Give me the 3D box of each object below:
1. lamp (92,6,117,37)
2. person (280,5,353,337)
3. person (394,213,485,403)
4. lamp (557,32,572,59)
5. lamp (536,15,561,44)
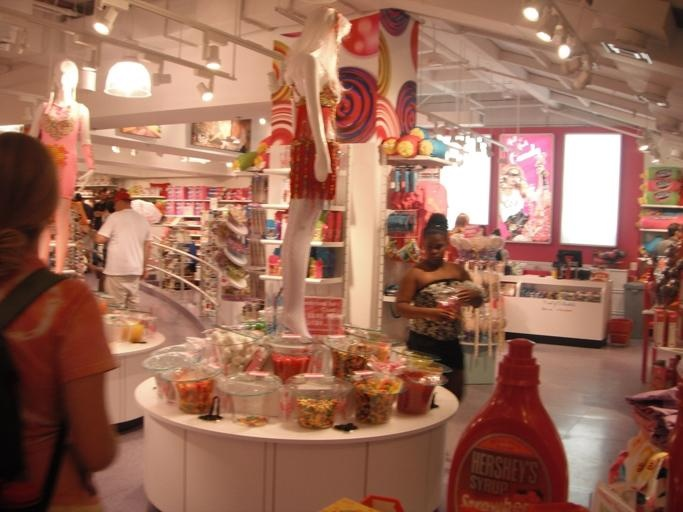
[{"bbox_3d":[-2.189,-2.188,4.812,0.187,0.251,0.337,2,3,-24],"label":"lamp"},{"bbox_3d":[-0.218,-0.530,3.339,0.386,2.075,0.357,4,3,0],"label":"person"},{"bbox_3d":[0.642,0.345,3.414,0.514,1.262,0.574,6,4,33],"label":"person"},{"bbox_3d":[1.635,-1.570,3.898,0.142,0.147,0.042,-11,17,-36],"label":"lamp"},{"bbox_3d":[1.455,-1.618,3.713,0.121,0.156,0.075,17,7,-18],"label":"lamp"}]
